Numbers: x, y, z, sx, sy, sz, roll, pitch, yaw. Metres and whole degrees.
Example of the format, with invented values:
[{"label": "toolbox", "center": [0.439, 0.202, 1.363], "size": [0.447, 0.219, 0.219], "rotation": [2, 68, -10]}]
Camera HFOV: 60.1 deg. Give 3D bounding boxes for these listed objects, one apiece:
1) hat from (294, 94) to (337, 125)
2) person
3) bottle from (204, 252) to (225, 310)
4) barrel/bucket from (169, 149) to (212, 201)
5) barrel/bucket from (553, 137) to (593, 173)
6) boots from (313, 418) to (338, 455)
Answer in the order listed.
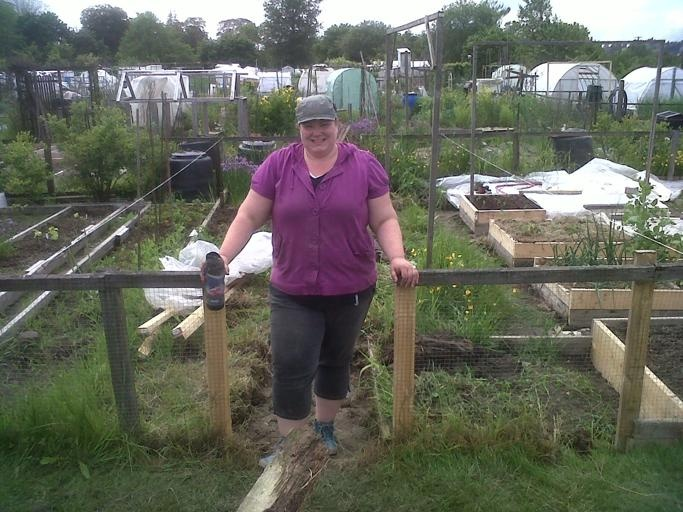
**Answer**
[{"label": "hat", "center": [-0.151, -0.888, 3.570], "size": [0.250, 0.167, 0.186], "rotation": [0, 13, -2]}, {"label": "person", "center": [-0.221, 0.175, 3.692], "size": [1.096, 2.321, 0.806], "rotation": [-1, 10, -12]}, {"label": "bottle", "center": [-0.772, 0.150, 3.599], "size": [0.124, 0.400, 0.174], "rotation": [-4, 13, -17]}, {"label": "barrel/bucket", "center": [-2.578, -1.397, 10.154], "size": [0.699, 0.842, 0.781], "rotation": [0, 11, 1]}, {"label": "barrel/bucket", "center": [4.855, -2.184, 12.353], "size": [0.662, 0.645, 0.743], "rotation": [-1, 3, 10]}, {"label": "boots", "center": [-0.096, 1.217, 3.970], "size": [0.100, 0.232, 0.226], "rotation": [2, -7, -6]}]
